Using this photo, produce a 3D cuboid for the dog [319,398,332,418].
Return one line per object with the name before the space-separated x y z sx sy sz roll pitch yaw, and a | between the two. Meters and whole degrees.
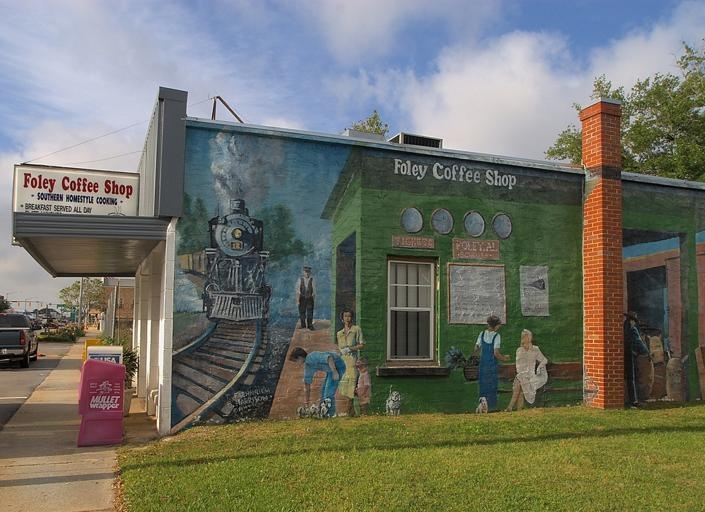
dog | -0.579 3.268 14.243 0.253 0.366 0.111 0 2 -3
